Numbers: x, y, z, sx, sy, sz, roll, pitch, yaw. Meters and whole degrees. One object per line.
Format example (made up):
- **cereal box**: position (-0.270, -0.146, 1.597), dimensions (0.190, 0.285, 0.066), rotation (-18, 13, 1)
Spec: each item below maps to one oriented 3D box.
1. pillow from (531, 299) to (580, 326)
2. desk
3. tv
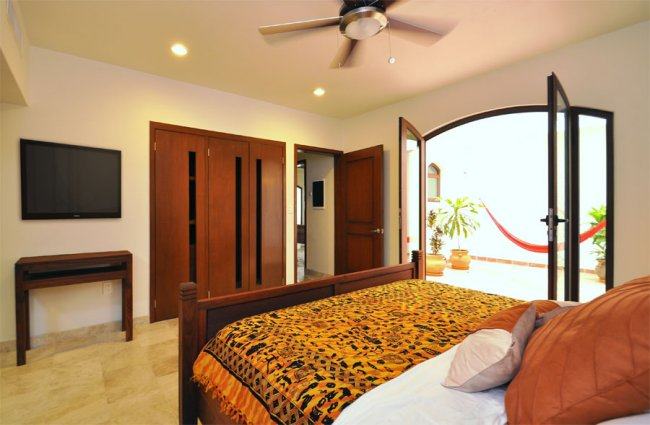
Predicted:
- **pillow**: position (1.769, 0.748, 3.269), dimensions (0.243, 0.081, 0.282), rotation (-31, -21, 38)
- **desk**: position (-2.873, 1.065, 4.770), dimensions (1.182, 1.073, 0.448), rotation (-3, 7, -34)
- **tv**: position (-2.995, -0.389, 4.902), dimensions (1.012, 0.823, 0.096), rotation (-1, 3, -34)
